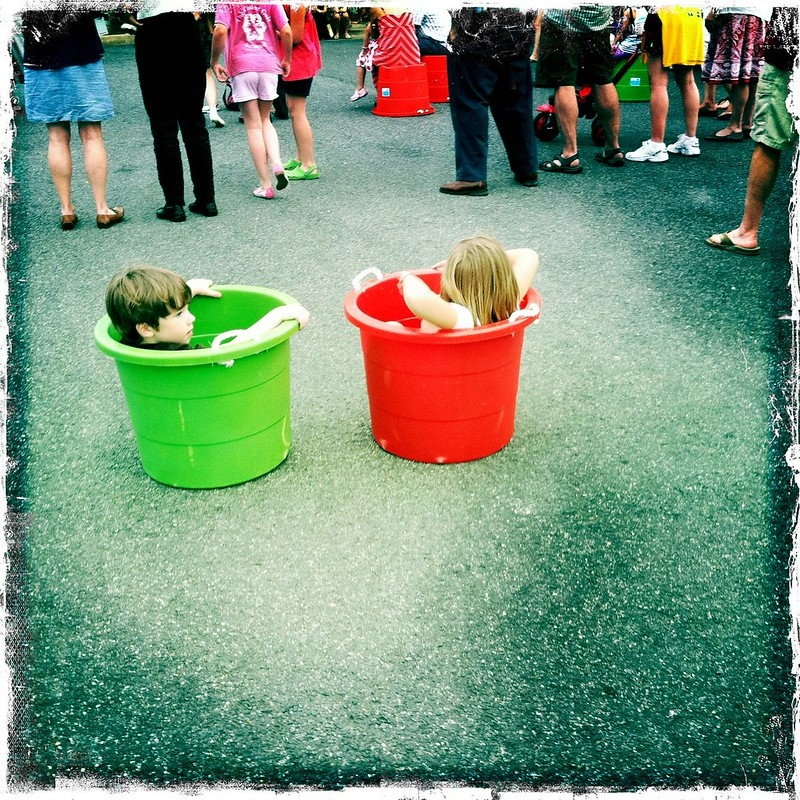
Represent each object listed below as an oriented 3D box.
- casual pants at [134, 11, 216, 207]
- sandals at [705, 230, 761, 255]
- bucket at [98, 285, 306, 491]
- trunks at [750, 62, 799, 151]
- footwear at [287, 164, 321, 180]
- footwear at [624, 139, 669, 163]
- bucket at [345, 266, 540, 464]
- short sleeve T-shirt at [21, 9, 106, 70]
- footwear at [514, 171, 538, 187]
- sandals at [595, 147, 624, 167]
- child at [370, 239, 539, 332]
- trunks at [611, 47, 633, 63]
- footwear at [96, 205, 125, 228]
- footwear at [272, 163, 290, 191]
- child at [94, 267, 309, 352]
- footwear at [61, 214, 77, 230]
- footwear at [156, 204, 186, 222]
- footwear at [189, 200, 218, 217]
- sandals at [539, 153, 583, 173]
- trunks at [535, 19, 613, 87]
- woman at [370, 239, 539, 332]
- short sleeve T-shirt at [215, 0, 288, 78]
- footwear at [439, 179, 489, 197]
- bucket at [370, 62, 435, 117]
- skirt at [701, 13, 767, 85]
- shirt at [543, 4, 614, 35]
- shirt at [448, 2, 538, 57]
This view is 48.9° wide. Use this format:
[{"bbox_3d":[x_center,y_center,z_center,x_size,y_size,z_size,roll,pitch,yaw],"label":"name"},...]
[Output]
[{"bbox_3d":[-1.373,-1.785,5.287,0.357,1.495,0.275,-8,-13,-4],"label":"casual pants"},{"bbox_3d":[1.783,-0.873,4.709,0.111,0.085,0.264,-19,34,-28],"label":"sandals"},{"bbox_3d":[-0.686,-0.002,3.006,0.596,0.470,0.615,0,16,0],"label":"bucket"},{"bbox_3d":[1.757,-1.359,4.119,0.195,0.399,0.237,6,25,23],"label":"trunks"},{"bbox_3d":[-0.727,-1.646,6.496,0.216,0.095,0.130,7,29,11],"label":"footwear"},{"bbox_3d":[1.843,-1.822,6.525,0.364,0.192,0.145,13,56,27],"label":"footwear"},{"bbox_3d":[0.158,-0.164,3.147,0.684,0.584,0.702,-3,27,2],"label":"bucket"},{"bbox_3d":[-1.877,-2.001,4.907,0.473,0.298,0.322,-17,26,-27],"label":"short sleeve T-shirt"},{"bbox_3d":[0.886,-1.543,6.139,0.074,0.089,0.199,-4,24,-6],"label":"footwear"},{"bbox_3d":[1.556,-1.809,6.565,0.098,0.127,0.271,-5,25,-11],"label":"sandals"},{"bbox_3d":[0.267,-0.396,2.923,0.326,0.271,0.645,13,29,36],"label":"child"},{"bbox_3d":[1.831,-2.813,7.236,0.113,0.091,0.121,6,52,7],"label":"trunks"},{"bbox_3d":[-1.787,-1.123,5.476,0.082,0.101,0.248,8,31,14],"label":"footwear"},{"bbox_3d":[-0.797,-1.463,5.852,0.073,0.206,0.087,-12,63,-13],"label":"footwear"},{"bbox_3d":[-0.687,-0.294,2.838,0.438,0.184,0.391,-10,31,-20],"label":"child"},{"bbox_3d":[-2.025,-1.074,5.373,0.091,0.075,0.097,8,37,-2],"label":"footwear"},{"bbox_3d":[-1.449,-1.167,5.527,0.147,0.097,0.062,19,47,11],"label":"footwear"},{"bbox_3d":[-1.267,-1.224,5.620,0.079,0.107,0.233,-14,27,-34],"label":"footwear"},{"bbox_3d":[1.186,-1.742,6.522,0.293,0.145,0.144,14,28,26],"label":"sandals"},{"bbox_3d":[1.239,-2.412,6.059,0.444,0.461,0.265,0,38,2],"label":"trunks"},{"bbox_3d":[0.267,-0.396,2.923,0.326,0.271,0.645,13,29,36],"label":"woman"},{"bbox_3d":[-0.939,-2.285,5.559,0.488,0.512,0.283,-1,48,-7],"label":"short sleeve T-shirt"},{"bbox_3d":[0.419,-1.472,5.968,0.283,0.141,0.131,7,29,8],"label":"footwear"},{"bbox_3d":[0.008,-3.197,9.022,0.677,0.505,0.727,-1,24,0],"label":"bucket"},{"bbox_3d":[2.478,-2.577,6.412,0.381,0.492,0.346,8,24,29],"label":"skirt"},{"bbox_3d":[1.186,-2.536,5.866,0.259,0.108,0.243,7,51,20],"label":"shirt"},{"bbox_3d":[0.579,-2.277,5.454,0.379,0.147,0.341,-22,45,-21],"label":"shirt"}]
